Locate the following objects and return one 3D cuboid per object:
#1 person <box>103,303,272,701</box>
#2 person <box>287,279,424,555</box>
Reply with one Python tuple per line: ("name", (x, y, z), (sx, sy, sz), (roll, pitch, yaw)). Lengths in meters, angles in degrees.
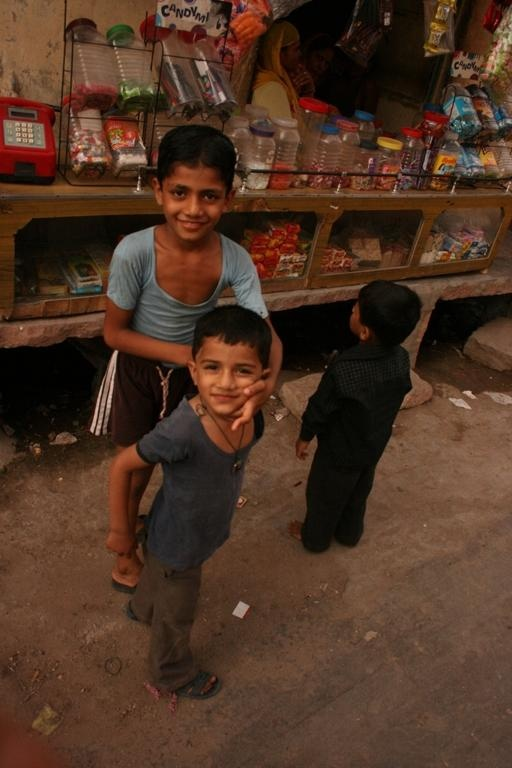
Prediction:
("person", (-0.222, 0.452, 1.583), (0.435, 1.433, 0.313), (13, 28, 1))
("person", (0.422, 0.224, 2.350), (0.461, 1.380, 0.285), (14, 28, 4))
